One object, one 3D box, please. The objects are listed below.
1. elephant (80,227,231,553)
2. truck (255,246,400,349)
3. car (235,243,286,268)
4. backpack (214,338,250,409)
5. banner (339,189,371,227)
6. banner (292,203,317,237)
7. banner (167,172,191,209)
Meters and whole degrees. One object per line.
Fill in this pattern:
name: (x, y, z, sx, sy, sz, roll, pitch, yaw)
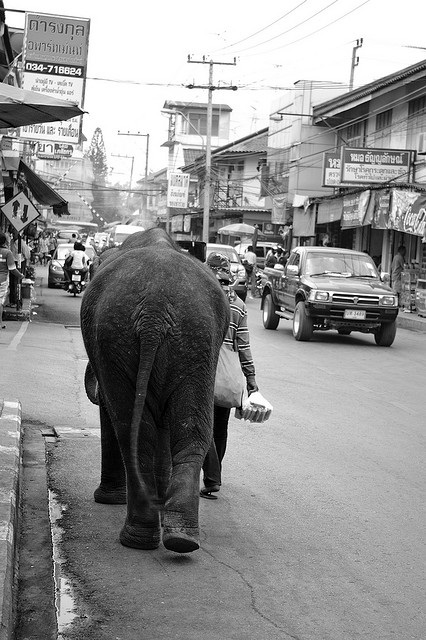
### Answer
elephant: (-0.319, 0.285, 3.142, 0.697, 1.495, 1.127, 5, 0, -11)
truck: (2.553, -0.750, 15.531, 1.962, 1.601, 3.628, 2, 2, -15)
car: (2.545, -3.336, 35.079, 2.996, 1.692, 1.808, -4, 13, -13)
backpack: (0.121, 0.354, 4.232, 0.163, 0.481, 0.362, -18, -26, 35)
banner: (5.569, -4.367, 24.903, 0.161, 1.490, 2.025, 14, 2, -15)
banner: (4.780, -5.177, 33.154, 0.221, 1.950, 1.875, 6, -6, -30)
banner: (-2.343, -8.860, 43.218, 1.327, 2.540, 2.584, 5, -1, -4)
